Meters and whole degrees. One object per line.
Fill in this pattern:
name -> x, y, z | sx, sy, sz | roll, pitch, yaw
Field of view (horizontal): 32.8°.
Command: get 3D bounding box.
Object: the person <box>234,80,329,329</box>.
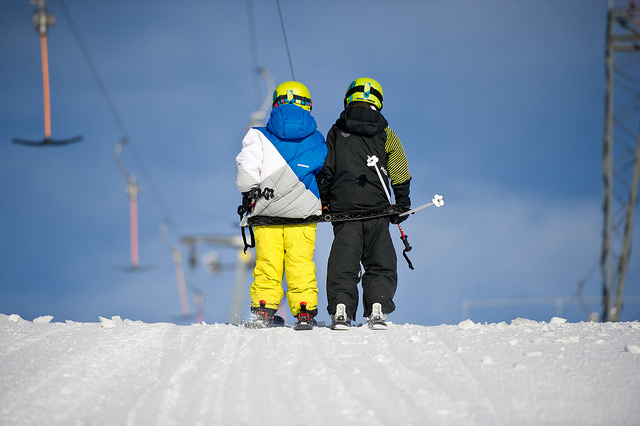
person -> -0.396, -0.115, 11.932 | 0.988, 2.721, 0.557 | -2, 0, -1

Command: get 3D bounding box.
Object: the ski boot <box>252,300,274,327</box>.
ski boot -> -0.620, 1.089, 11.808 | 0.239, 0.316, 0.114 | 1, -8, -4

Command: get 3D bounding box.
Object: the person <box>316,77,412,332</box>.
person -> 0.493, -0.136, 11.962 | 1.028, 2.772, 0.758 | -2, 0, -2

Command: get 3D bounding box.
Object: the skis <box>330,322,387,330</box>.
skis -> 0.419, 1.193, 11.522 | 0.588, 0.086, 0.128 | -2, 0, -3

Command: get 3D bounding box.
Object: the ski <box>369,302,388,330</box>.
ski -> 0.622, 1.104, 11.648 | 0.185, 0.283, 0.333 | -2, 0, 2

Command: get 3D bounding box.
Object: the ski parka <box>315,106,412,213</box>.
ski parka -> 0.494, -0.571, 12.168 | 1.165, 1.181, 0.503 | 1, 1, 10
